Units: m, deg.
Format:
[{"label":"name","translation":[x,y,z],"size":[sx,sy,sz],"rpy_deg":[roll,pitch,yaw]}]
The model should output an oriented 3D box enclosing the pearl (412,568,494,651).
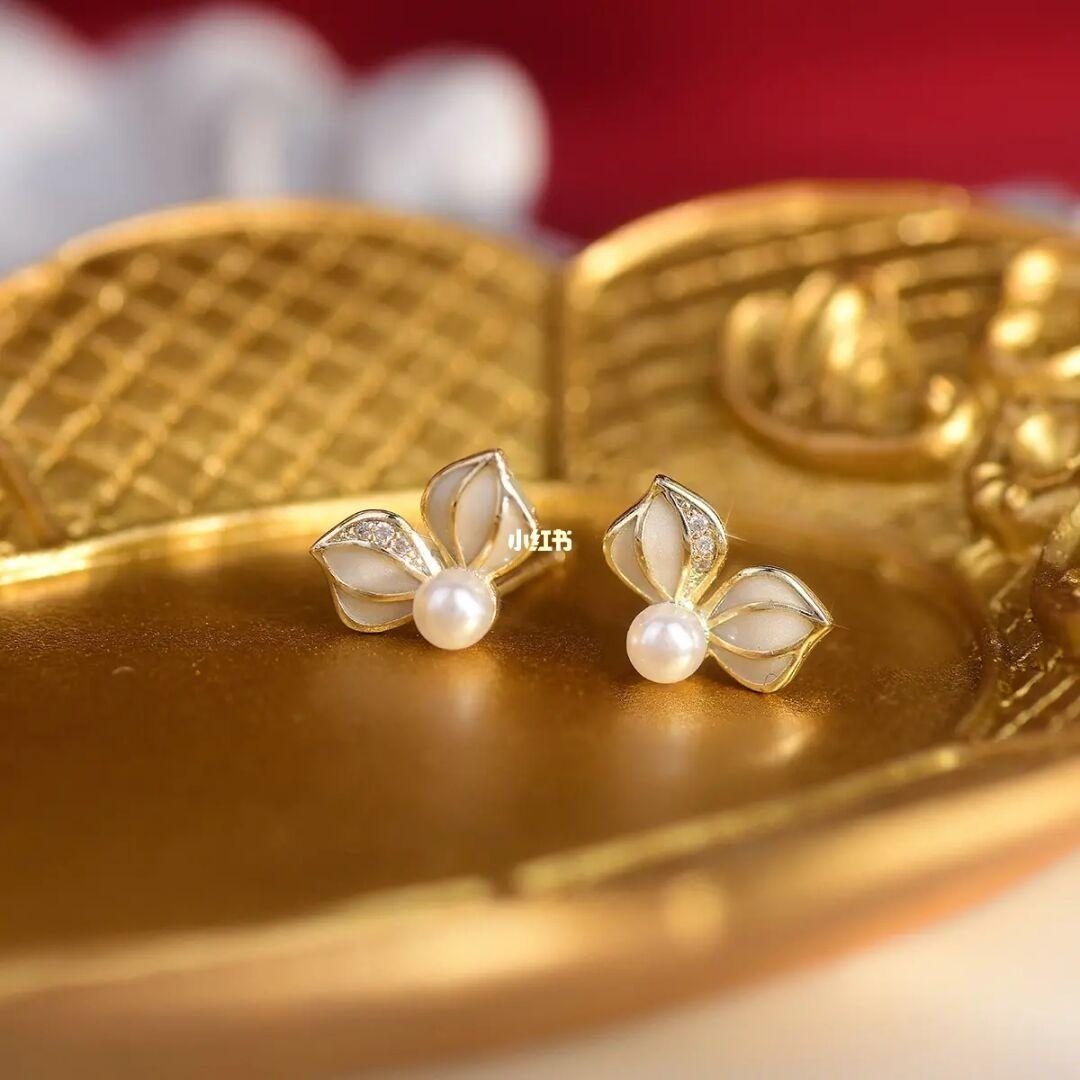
[{"label":"pearl","translation":[-0.053,0.043,0.772],"size":[0.054,0.042,0.048],"rpy_deg":[3,9,19]}]
